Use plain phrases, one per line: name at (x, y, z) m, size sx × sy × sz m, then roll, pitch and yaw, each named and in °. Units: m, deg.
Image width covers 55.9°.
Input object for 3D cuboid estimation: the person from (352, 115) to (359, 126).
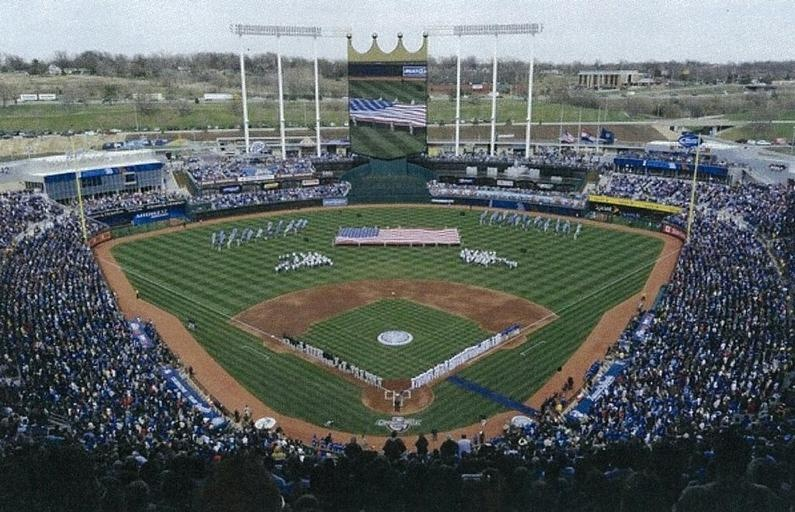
person at (-6.957, -22.171, 123.369) m, size 0.863 × 1.448 × 1.440 m, roll 8°, pitch 0°, yaw 19°
